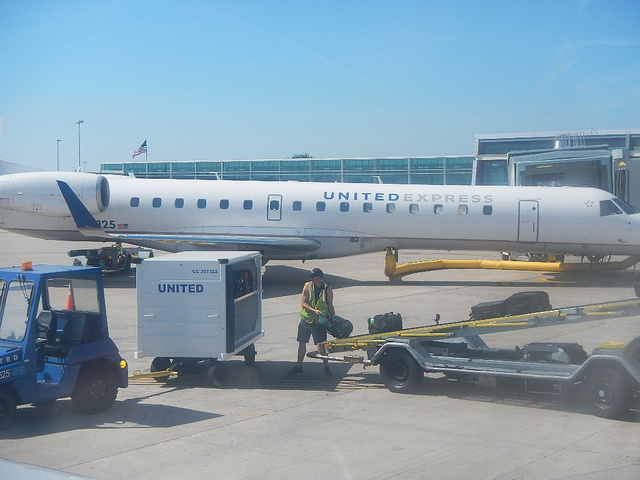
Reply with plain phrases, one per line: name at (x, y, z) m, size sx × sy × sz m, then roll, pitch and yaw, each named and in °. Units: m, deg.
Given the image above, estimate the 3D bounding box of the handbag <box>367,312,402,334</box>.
handbag at (1.328, 1.634, 17.560) m, size 0.635 × 0.282 × 0.406 m, roll -1°, pitch -1°, yaw 6°
